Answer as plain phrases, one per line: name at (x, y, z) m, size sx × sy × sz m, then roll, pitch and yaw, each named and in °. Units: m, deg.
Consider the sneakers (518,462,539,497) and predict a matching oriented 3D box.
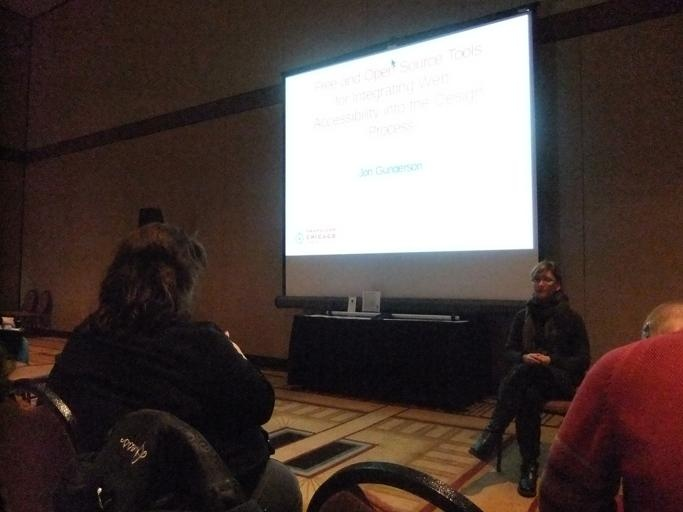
sneakers at (0.977, 1.154, 2.810) m, size 0.096 × 0.140 × 0.178 m, roll 5°, pitch 5°, yaw 21°
